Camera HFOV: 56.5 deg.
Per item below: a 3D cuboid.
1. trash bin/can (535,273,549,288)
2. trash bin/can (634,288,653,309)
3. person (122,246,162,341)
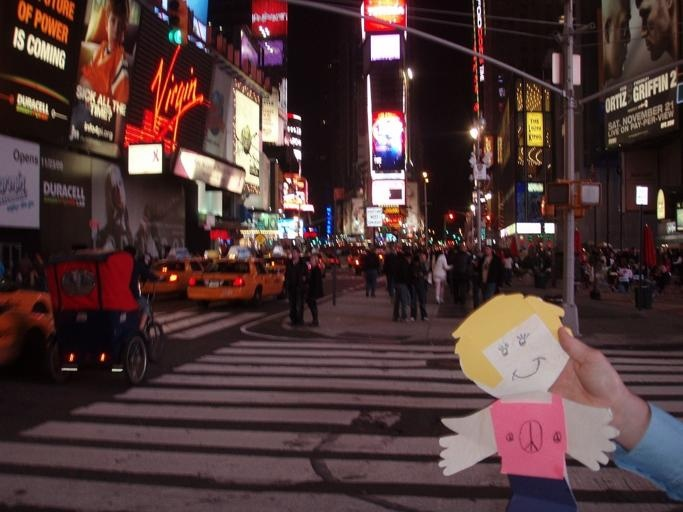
[{"bbox_3d":[9.836,1.236,31.012,0.450,0.666,0.784,3,-1,-15],"label":"trash bin/can"},{"bbox_3d":[10.028,1.415,21.220,0.495,0.789,0.583,0,0,2],"label":"trash bin/can"},{"bbox_3d":[-3.532,0.512,11.205,0.504,1.934,0.572,-2,4,-15],"label":"person"}]
